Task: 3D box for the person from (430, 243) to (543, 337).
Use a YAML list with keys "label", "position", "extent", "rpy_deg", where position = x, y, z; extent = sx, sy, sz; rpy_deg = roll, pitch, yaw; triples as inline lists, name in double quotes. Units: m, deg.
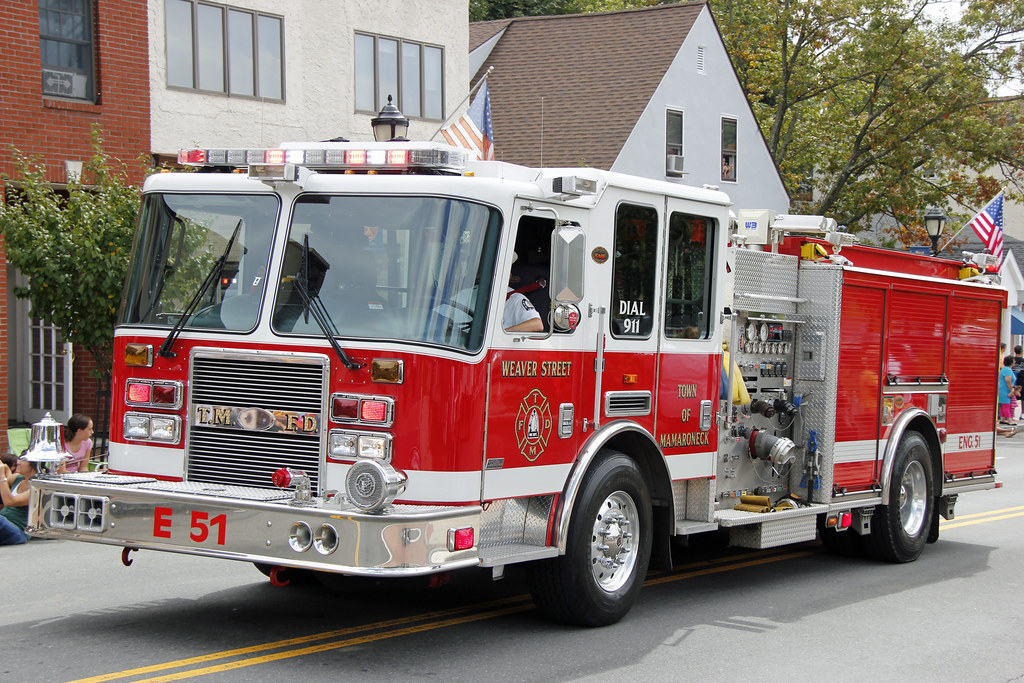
- label: "person"
  position: [-0.066, -0.548, 10.643]
  extent: [1.106, 0.390, 0.608]
  rpy_deg: [7, 8, -16]
